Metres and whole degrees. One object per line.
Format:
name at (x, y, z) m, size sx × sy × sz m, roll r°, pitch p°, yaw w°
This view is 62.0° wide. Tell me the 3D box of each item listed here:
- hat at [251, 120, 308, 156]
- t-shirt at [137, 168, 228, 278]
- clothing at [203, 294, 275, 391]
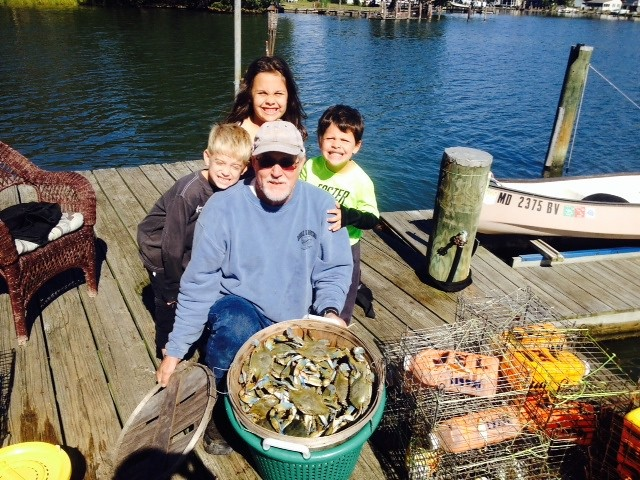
hat at (-0.323, -0.768, 4.151) m, size 0.376 × 0.264 × 0.309 m, roll 7°, pitch 31°, yaw 6°
t-shirt at (-1.362, -0.201, 4.976) m, size 0.575 × 0.880 × 0.885 m, roll 12°, pitch 18°, yaw -20°
clothing at (-0.694, 0.809, 4.347) m, size 0.583 × 0.688 × 0.279 m, roll -3°, pitch -1°, yaw 9°
